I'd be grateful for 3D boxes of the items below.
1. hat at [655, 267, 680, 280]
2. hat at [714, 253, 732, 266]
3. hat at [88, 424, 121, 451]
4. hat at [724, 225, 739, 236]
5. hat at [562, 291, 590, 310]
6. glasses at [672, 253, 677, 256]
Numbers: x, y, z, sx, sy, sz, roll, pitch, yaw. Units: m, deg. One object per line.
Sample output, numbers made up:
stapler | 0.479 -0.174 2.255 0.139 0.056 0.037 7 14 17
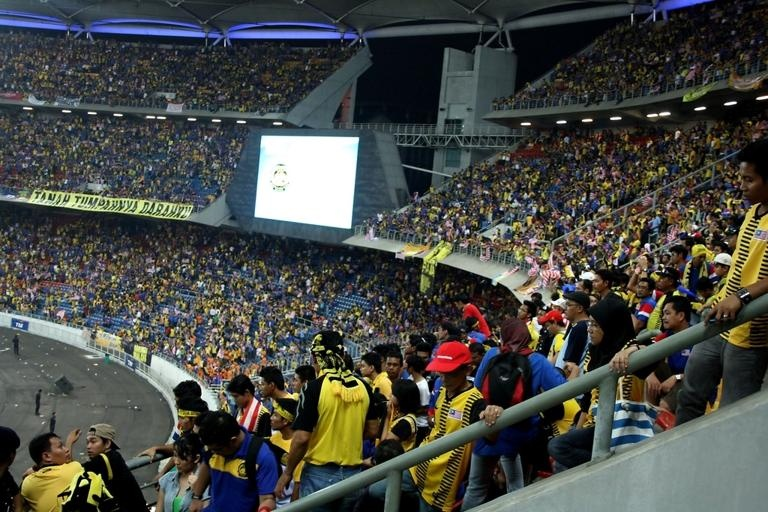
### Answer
hat | 7.986 0.502 27.038 0.435 0.375 0.950 -3 -6 26
hat | 9.401 0.101 26.777 0.424 0.373 0.694 -2 -6 17
hat | -7.306 4.724 25.171 0.758 0.640 0.989 0 -5 -2
hat | 10.670 -0.775 29.552 0.490 0.219 0.783 8 20 29
hat | 5.132 1.184 25.612 0.612 0.501 0.520 -1 -6 10
glasses | 8.320 -0.036 27.757 0.049 0.048 0.129 3 -6 -25
